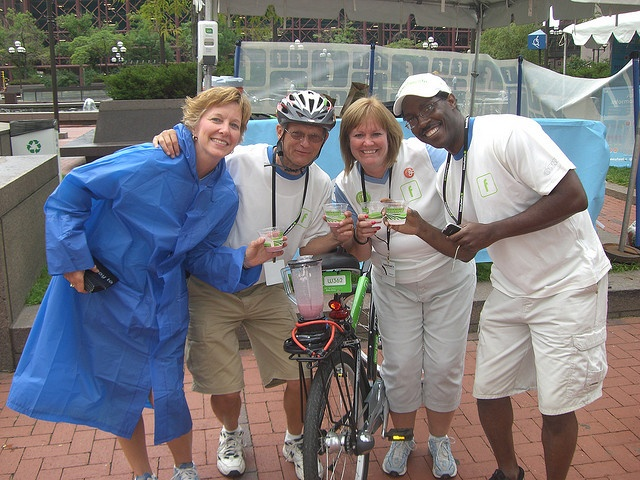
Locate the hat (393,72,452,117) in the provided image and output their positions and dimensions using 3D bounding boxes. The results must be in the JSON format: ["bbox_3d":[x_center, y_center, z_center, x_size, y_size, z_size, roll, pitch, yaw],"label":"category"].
[{"bbox_3d":[0.616,-0.947,3.053,0.222,0.163,0.305,-21,-21,23],"label":"hat"}]

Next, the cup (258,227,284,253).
[{"bbox_3d":[-0.300,-0.006,3.050,0.135,0.116,0.145,-2,0,0],"label":"cup"}]

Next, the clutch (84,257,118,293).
[{"bbox_3d":[-1.253,0.200,2.813,0.172,0.168,0.060,-57,5,-32],"label":"clutch"}]

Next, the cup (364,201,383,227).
[{"bbox_3d":[0.341,-0.170,3.200,0.116,0.160,0.133,-4,10,-6],"label":"cup"}]

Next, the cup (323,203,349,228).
[{"bbox_3d":[0.107,-0.157,3.261,0.146,0.129,0.156,0,-3,0],"label":"cup"}]

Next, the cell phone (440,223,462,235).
[{"bbox_3d":[0.767,-0.062,2.881,0.103,0.076,0.077,0,11,14],"label":"cell phone"}]

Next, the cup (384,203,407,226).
[{"bbox_3d":[0.456,-0.162,3.026,0.132,0.117,0.130,0,3,0],"label":"cup"}]

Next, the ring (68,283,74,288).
[{"bbox_3d":[-1.488,0.267,2.936,0.030,0.017,0.042,2,3,3],"label":"ring"}]

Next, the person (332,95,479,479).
[{"bbox_3d":[0.500,0.320,3.737,0.959,2.714,1.047,-1,10,-4],"label":"person"}]
